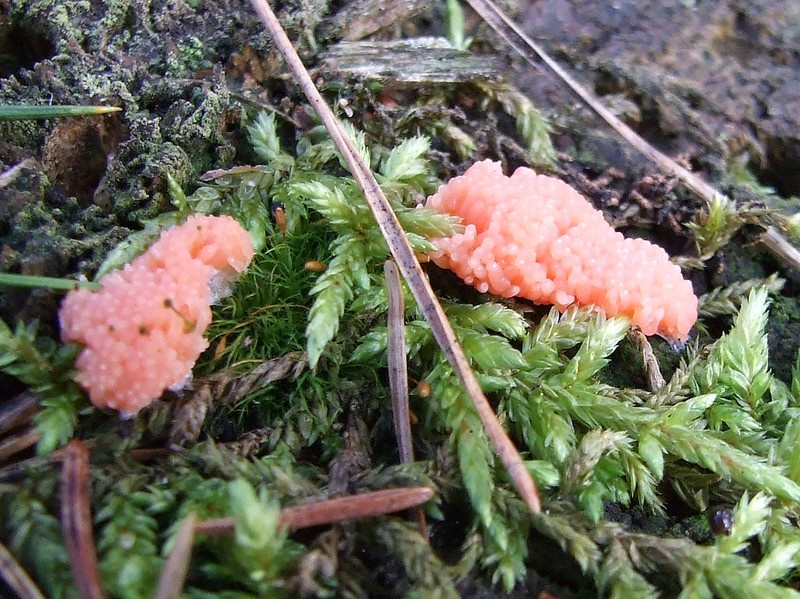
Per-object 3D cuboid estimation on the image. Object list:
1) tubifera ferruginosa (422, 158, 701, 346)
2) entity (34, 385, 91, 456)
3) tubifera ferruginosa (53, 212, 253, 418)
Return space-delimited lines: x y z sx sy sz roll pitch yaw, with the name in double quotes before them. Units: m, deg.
"tubifera ferruginosa" 0.689 -0.107 3.073 1.099 0.448 0.661 17 49 1
"entity" -1.347 0.477 2.587 0.174 0.167 0.260 21 42 0
"tubifera ferruginosa" -0.944 0.051 2.697 0.760 0.514 0.526 -19 55 -36
